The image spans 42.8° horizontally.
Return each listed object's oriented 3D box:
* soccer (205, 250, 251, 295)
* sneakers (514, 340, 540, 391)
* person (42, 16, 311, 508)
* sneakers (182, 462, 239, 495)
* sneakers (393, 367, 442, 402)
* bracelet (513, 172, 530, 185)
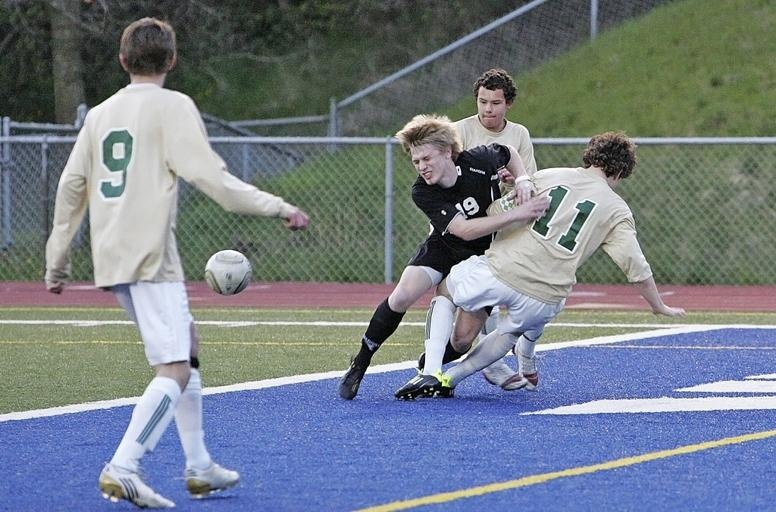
[{"bbox_3d":[-1.199,0.102,7.537,0.326,0.328,0.328,28,21,39],"label":"soccer"},{"bbox_3d":[1.259,0.919,8.762,0.168,0.499,0.211,-7,9,-24],"label":"sneakers"},{"bbox_3d":[-1.519,0.019,6.454,1.516,3.109,0.728,0,7,-2],"label":"person"},{"bbox_3d":[-1.161,1.446,6.562,0.429,0.222,0.147,2,-3,-43],"label":"sneakers"},{"bbox_3d":[0.282,1.093,8.335,0.470,0.208,0.174,-17,-39,23],"label":"sneakers"},{"bbox_3d":[1.103,-0.624,8.179,0.094,0.038,0.099,-7,7,25],"label":"bracelet"}]
